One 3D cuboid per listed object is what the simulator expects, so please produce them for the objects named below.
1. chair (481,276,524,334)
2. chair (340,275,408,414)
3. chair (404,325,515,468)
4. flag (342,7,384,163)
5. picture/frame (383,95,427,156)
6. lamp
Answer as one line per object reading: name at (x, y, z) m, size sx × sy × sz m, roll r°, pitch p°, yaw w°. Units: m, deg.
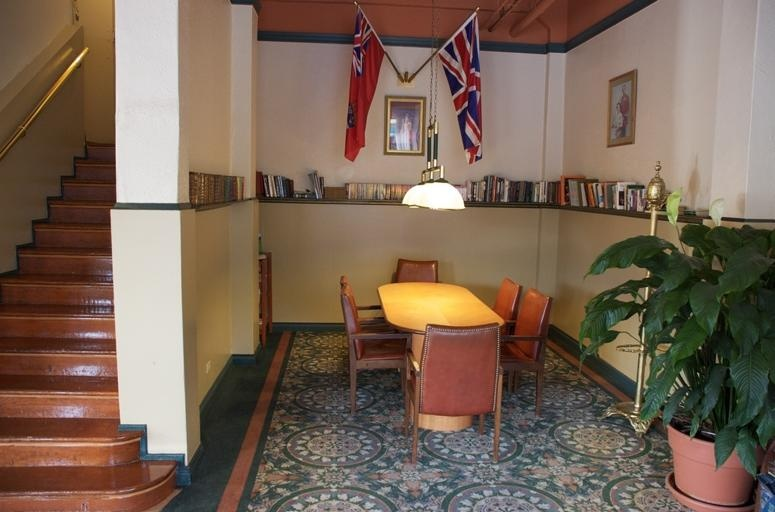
chair at (1.367, 0.540, 6.777) m, size 0.483 × 0.880 × 0.541 m, roll 0°, pitch 9°, yaw -9°
chair at (-0.141, 0.965, 6.399) m, size 0.706 × 1.410 × 0.970 m, roll -2°, pitch 5°, yaw -2°
chair at (0.664, 1.241, 5.628) m, size 0.967 × 1.408 × 0.971 m, roll 2°, pitch 13°, yaw 8°
flag at (-0.341, -2.294, 7.594) m, size 0.546 × 1.969 × 0.366 m, roll -1°, pitch 5°, yaw 10°
picture/frame at (0.232, -1.952, 8.313) m, size 0.812 × 1.179 × 0.085 m, roll 1°, pitch 10°, yaw -1°
lamp at (0.678, -1.798, 6.992) m, size 0.822 × 2.528 × 2.803 m, roll -1°, pitch 5°, yaw 9°
